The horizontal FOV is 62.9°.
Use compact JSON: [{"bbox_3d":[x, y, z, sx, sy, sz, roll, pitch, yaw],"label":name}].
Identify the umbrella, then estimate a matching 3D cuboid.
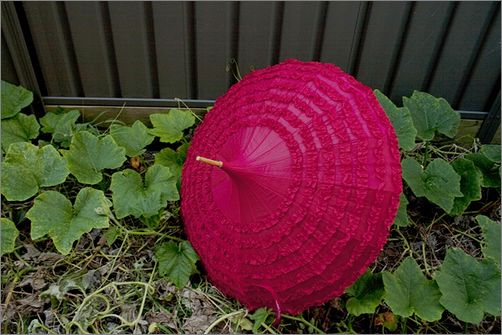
[{"bbox_3d":[0.146,0.078,1.792,0.951,0.815,0.740,31,48,21],"label":"umbrella"}]
